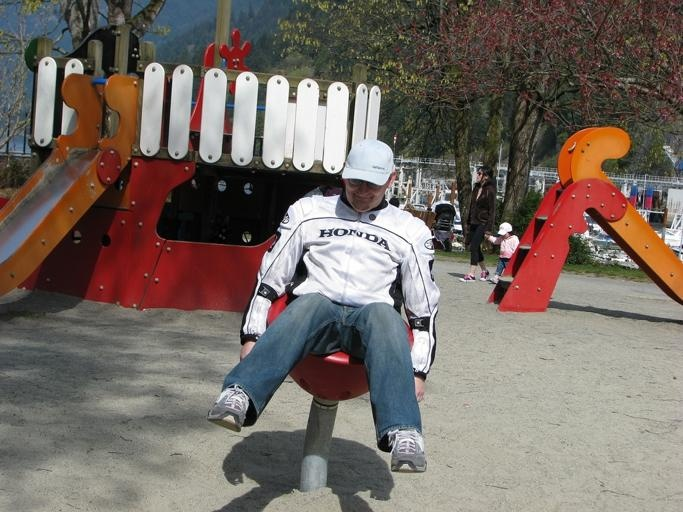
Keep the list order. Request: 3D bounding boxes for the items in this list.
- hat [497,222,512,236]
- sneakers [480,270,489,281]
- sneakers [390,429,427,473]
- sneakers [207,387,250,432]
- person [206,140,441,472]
[{"bbox_3d":[3.129,-0.525,13.242,0.263,0.264,0.399,2,15,31],"label":"hat"},{"bbox_3d":[2.959,0.397,14.279,0.111,0.177,0.366,1,5,20],"label":"sneakers"},{"bbox_3d":[0.404,1.045,3.927,0.190,0.250,0.554,2,2,12],"label":"sneakers"},{"bbox_3d":[-0.603,0.830,3.745,0.211,0.217,0.207,3,8,-9],"label":"sneakers"},{"bbox_3d":[-0.005,0.167,4.020,1.139,1.698,1.044,5,8,8],"label":"person"}]
